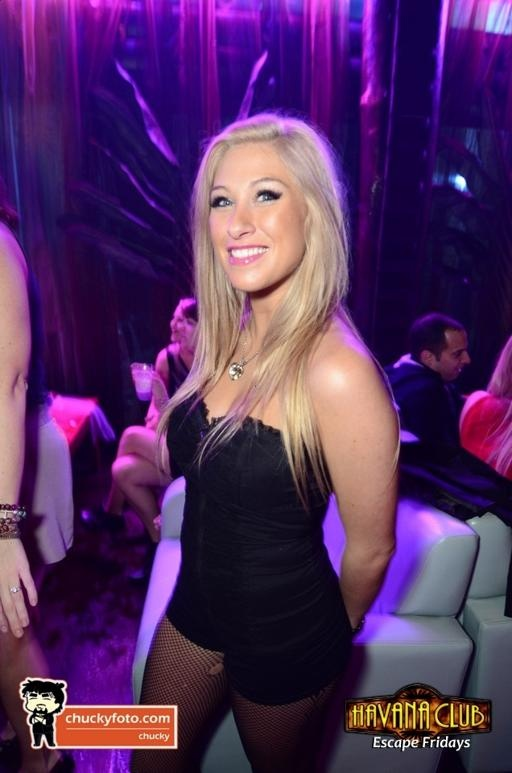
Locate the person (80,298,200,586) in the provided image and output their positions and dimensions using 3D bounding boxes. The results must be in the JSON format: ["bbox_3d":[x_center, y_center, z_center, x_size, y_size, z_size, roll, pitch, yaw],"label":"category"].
[{"bbox_3d":[-0.561,0.224,3.259,0.657,1.312,0.427,1,19,-31],"label":"person"}]

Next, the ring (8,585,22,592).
[{"bbox_3d":[-0.489,0.408,1.207,0.015,0.012,0.019,2,1,-9],"label":"ring"}]
